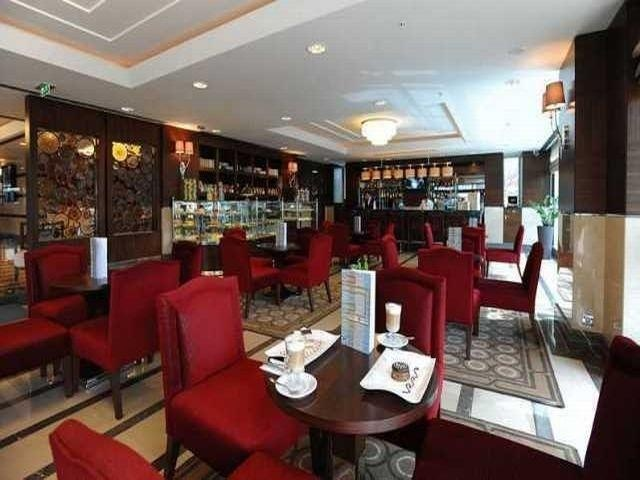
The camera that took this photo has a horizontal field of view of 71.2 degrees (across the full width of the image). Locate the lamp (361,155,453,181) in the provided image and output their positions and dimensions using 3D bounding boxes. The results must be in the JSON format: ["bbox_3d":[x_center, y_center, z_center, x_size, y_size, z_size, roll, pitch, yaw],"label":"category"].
[{"bbox_3d":[2.442,-1.964,12.432,2.492,0.614,0.954,-1,8,21],"label":"lamp"}]

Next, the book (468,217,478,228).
[{"bbox_3d":[3.171,-0.372,9.258,0.248,0.271,0.138,5,15,22],"label":"book"}]

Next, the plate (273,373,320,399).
[{"bbox_3d":[-0.148,0.880,2.710,0.267,0.120,0.132,-4,8,-3],"label":"plate"}]

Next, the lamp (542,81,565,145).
[{"bbox_3d":[2.540,-1.395,4.826,0.166,0.614,0.141,-1,-4,42],"label":"lamp"}]

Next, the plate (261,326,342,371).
[{"bbox_3d":[-0.124,0.746,3.009,0.257,0.068,0.447,4,12,29],"label":"plate"}]

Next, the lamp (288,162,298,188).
[{"bbox_3d":[-0.698,-1.695,11.443,0.258,0.674,0.707,-3,8,-3],"label":"lamp"}]

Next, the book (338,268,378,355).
[{"bbox_3d":[0.251,0.480,3.040,0.270,0.567,0.068,2,8,35],"label":"book"}]

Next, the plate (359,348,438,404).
[{"bbox_3d":[0.502,0.844,2.806,0.372,0.180,0.458,1,9,31],"label":"plate"}]

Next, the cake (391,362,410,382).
[{"bbox_3d":[0.494,0.810,2.743,0.095,0.074,0.102,0,0,2],"label":"cake"}]

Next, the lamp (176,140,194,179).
[{"bbox_3d":[-2.415,-1.464,8.006,0.333,0.694,0.460,-5,7,-16],"label":"lamp"}]

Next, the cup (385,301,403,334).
[{"bbox_3d":[0.510,0.542,3.106,0.098,0.221,0.121,-2,7,5],"label":"cup"}]

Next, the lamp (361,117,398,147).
[{"bbox_3d":[1.073,-1.941,7.915,0.484,0.358,0.478,-13,17,-43],"label":"lamp"}]
